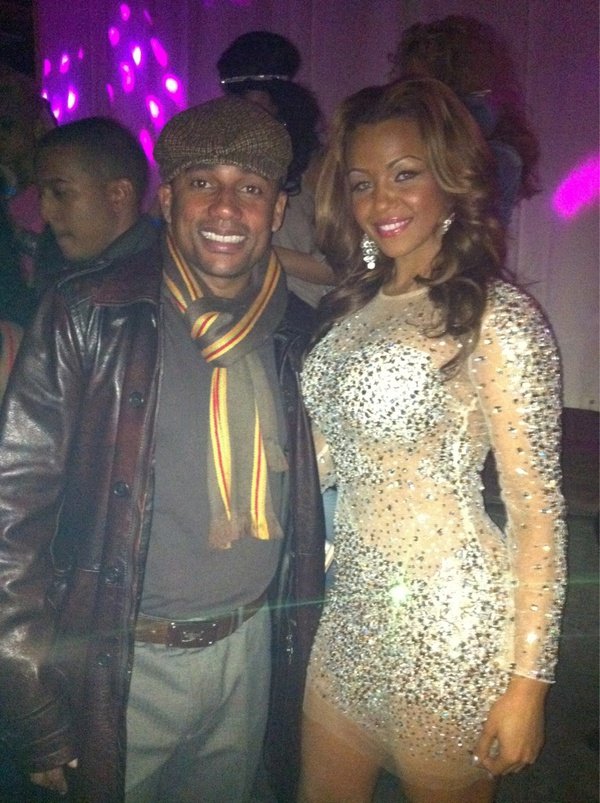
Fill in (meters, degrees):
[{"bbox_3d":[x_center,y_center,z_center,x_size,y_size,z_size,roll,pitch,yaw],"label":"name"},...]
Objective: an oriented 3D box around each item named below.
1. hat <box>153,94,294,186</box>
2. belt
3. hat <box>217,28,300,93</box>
[{"bbox_3d":[-0.192,-0.604,1.979,0.354,0.133,0.386,8,13,4],"label":"hat"},{"bbox_3d":[-0.244,0.517,1.943,0.258,0.056,0.255,-13,1,-3],"label":"belt"},{"bbox_3d":[-0.137,-1.060,2.599,0.281,0.200,0.199,-17,25,-24],"label":"hat"}]
